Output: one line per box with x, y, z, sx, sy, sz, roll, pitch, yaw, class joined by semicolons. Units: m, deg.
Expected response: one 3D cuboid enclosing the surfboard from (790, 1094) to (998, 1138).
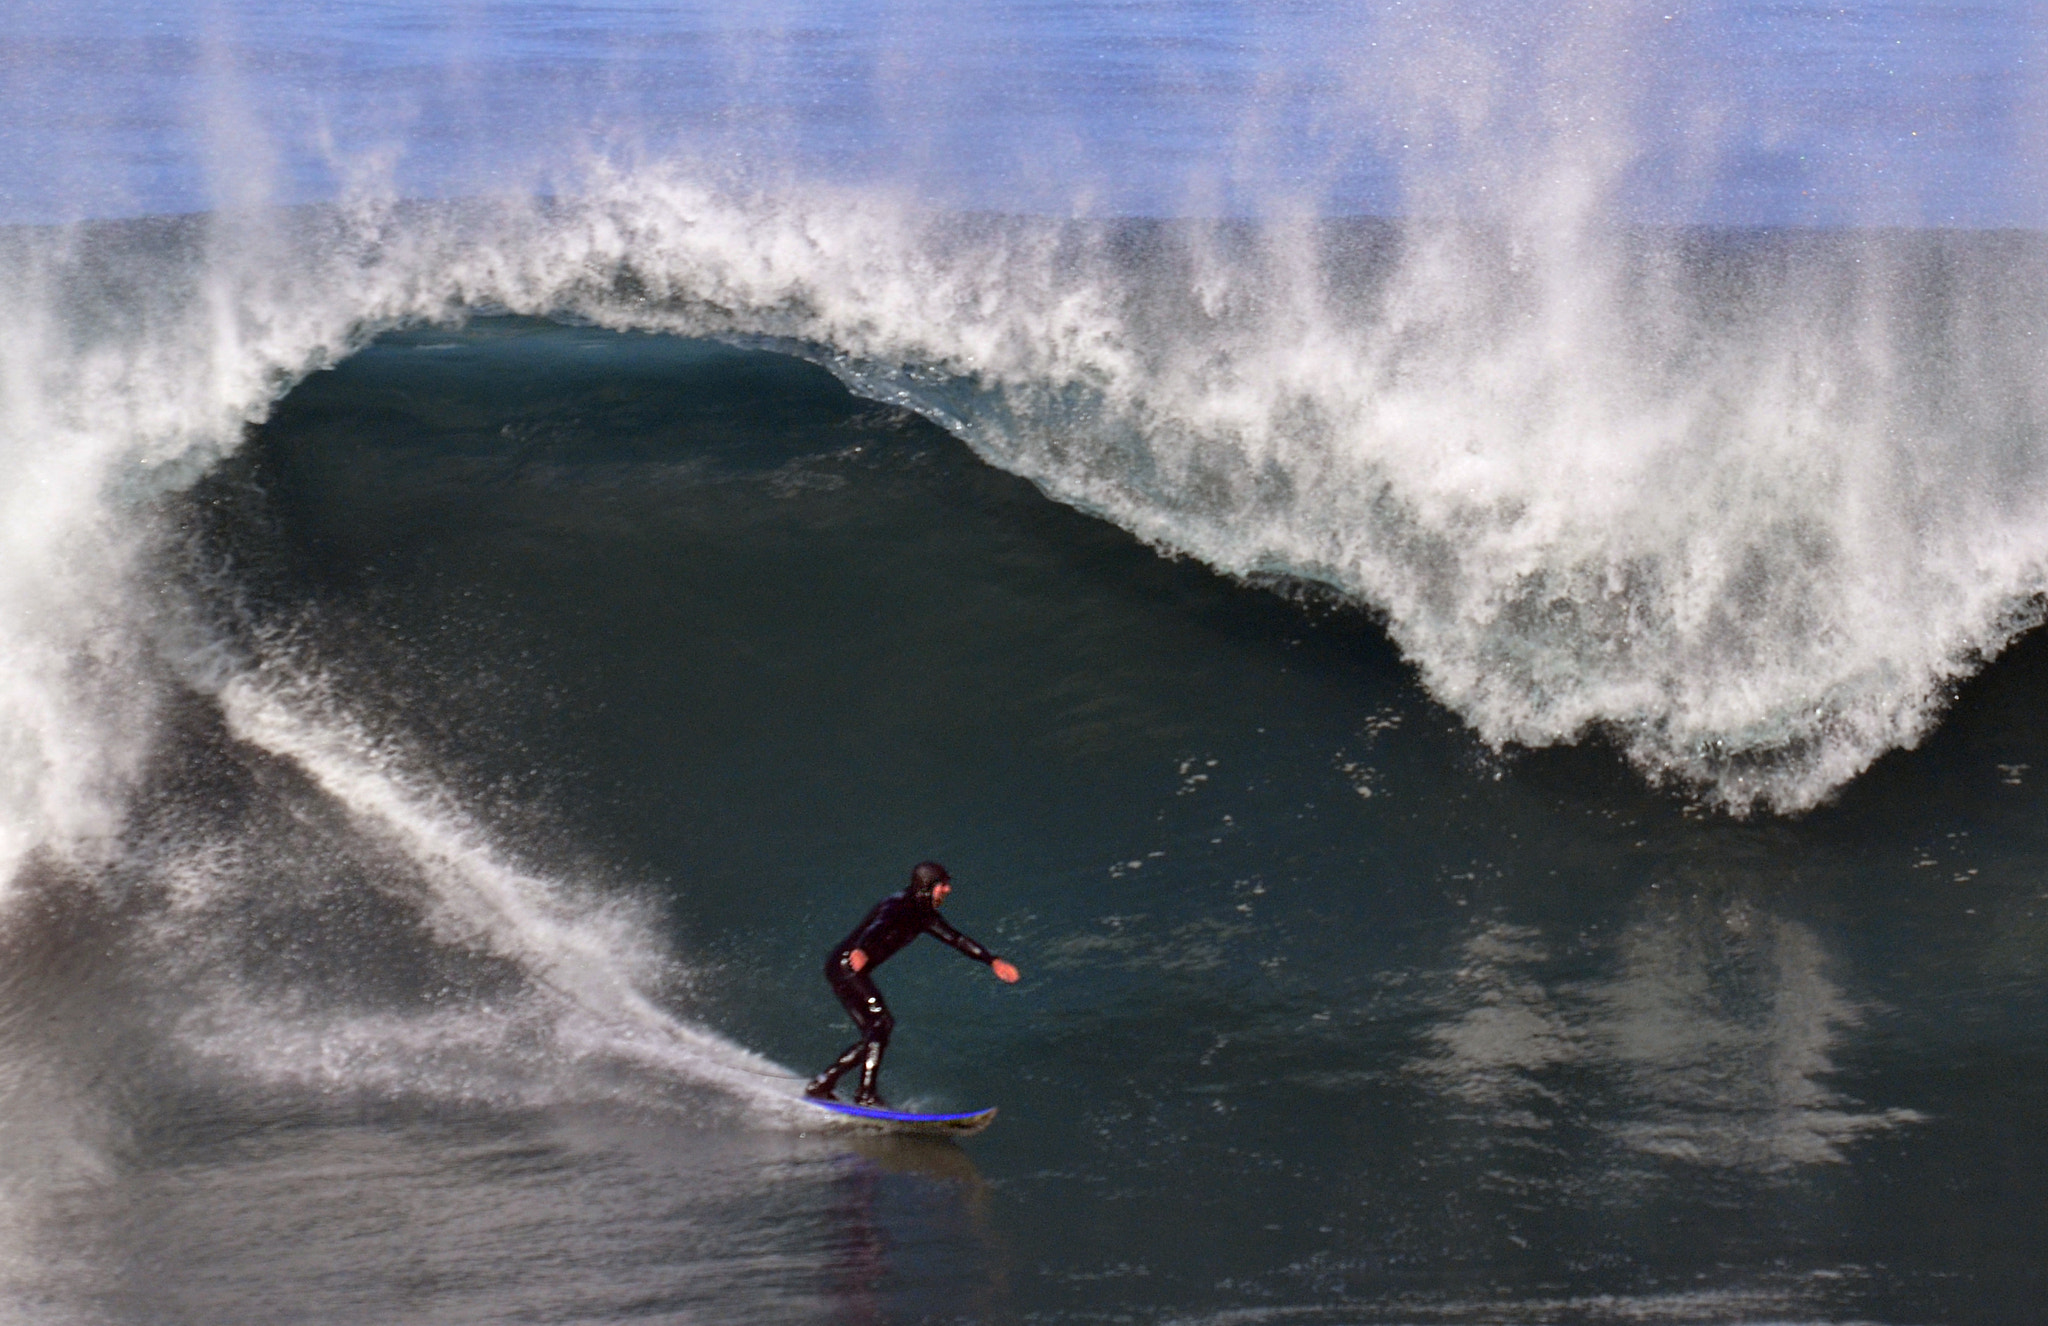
-1.199;4.176;24.583;1.532;0.217;0.319;3;20;10;surfboard
